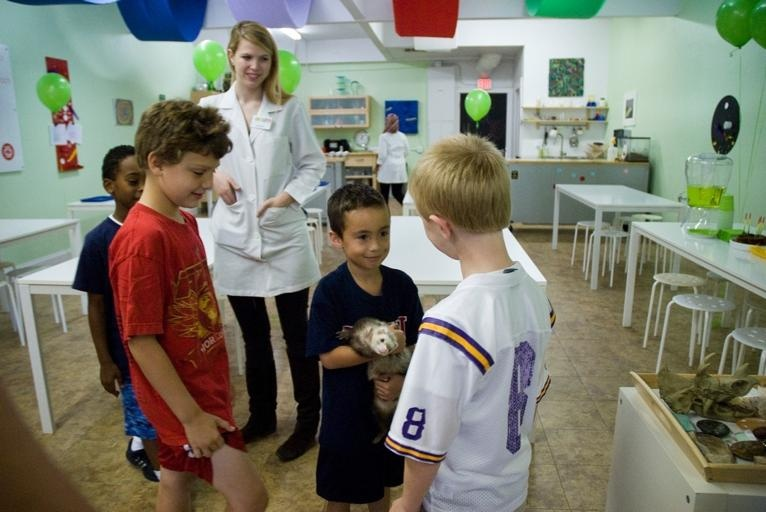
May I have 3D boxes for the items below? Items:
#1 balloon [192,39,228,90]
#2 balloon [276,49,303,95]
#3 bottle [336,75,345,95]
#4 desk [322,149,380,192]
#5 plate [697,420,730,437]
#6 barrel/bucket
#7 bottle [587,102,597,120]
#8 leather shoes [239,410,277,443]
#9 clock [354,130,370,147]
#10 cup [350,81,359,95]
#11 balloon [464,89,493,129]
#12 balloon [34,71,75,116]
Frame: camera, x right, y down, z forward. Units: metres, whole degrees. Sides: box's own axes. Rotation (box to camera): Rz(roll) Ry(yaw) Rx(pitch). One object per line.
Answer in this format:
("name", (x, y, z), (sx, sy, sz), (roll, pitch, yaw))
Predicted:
("balloon", (-2.029, -2.204, 6.323), (0.403, 0.601, 0.395), (-12, 23, -41))
("balloon", (-1.031, -1.911, 5.674), (0.326, 0.392, 0.323), (-8, 19, -27))
("bottle", (-0.883, -3.591, 11.426), (0.219, 0.389, 0.229), (-2, 11, 0))
("desk", (-0.709, -1.395, 10.416), (1.155, 1.098, 0.614), (-1, 5, -8))
("plate", (1.340, 0.689, 2.189), (0.070, 0.020, 0.073), (1, 11, 28))
("barrel/bucket", (2.497, -0.439, 4.161), (0.328, 0.599, 0.334), (1, 11, 0))
("bottle", (3.801, -2.627, 9.804), (0.170, 0.315, 0.153), (2, 11, 21))
("leather shoes", (-0.739, 1.007, 3.254), (0.256, 0.240, 0.110), (-1, 6, -28))
("clock", (-0.461, -2.479, 11.622), (0.311, 0.396, 0.135), (-4, 11, -8))
("cup", (-0.608, -3.552, 11.510), (0.146, 0.277, 0.153), (-2, 11, 0))
("balloon", (1.506, -2.324, 8.516), (0.338, 0.540, 0.687), (1, 11, 15))
("balloon", (-3.566, -1.729, 5.900), (0.453, 0.563, 0.432), (-5, 15, -27))
